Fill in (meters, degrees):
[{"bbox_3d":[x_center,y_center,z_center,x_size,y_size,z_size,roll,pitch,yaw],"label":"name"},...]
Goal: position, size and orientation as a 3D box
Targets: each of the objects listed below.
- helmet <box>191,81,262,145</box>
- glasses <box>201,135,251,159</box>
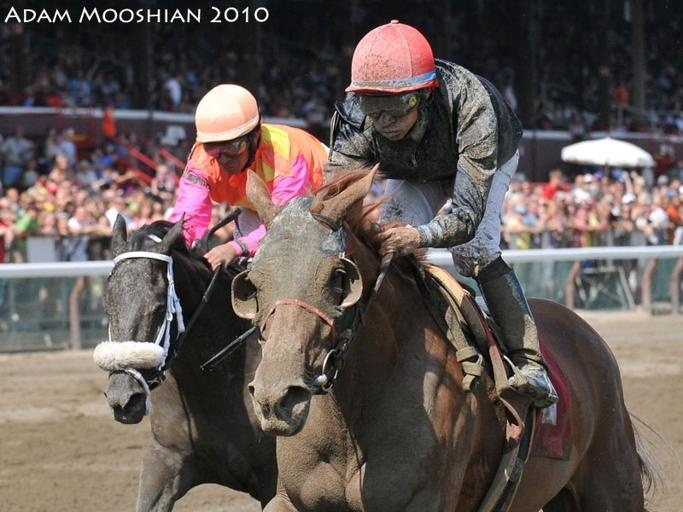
[{"bbox_3d":[-1.133,-1.459,16.580,0.654,0.580,0.371,-1,6,-4],"label":"helmet"},{"bbox_3d":[-1.155,-1.125,16.471,0.404,0.199,0.061,-1,6,-5],"label":"glasses"}]
